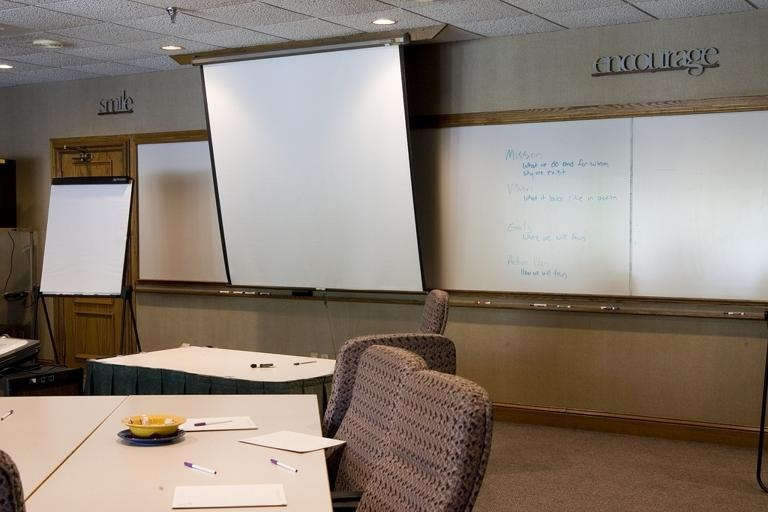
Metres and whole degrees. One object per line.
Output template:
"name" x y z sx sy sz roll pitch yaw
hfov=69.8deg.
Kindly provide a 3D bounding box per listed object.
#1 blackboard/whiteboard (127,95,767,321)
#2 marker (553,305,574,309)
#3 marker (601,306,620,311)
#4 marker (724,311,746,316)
"blackboard/whiteboard" 0.035 -0.464 5.762 6.813 2.019 0.202 0 5 19
"marker" 1.704 0.486 5.215 0.155 0.033 0.042 0 4 18
"marker" 2.097 0.489 5.090 0.154 0.049 0.040 1 5 23
"marker" 3.051 0.500 4.783 0.143 0.033 0.024 -1 4 10
